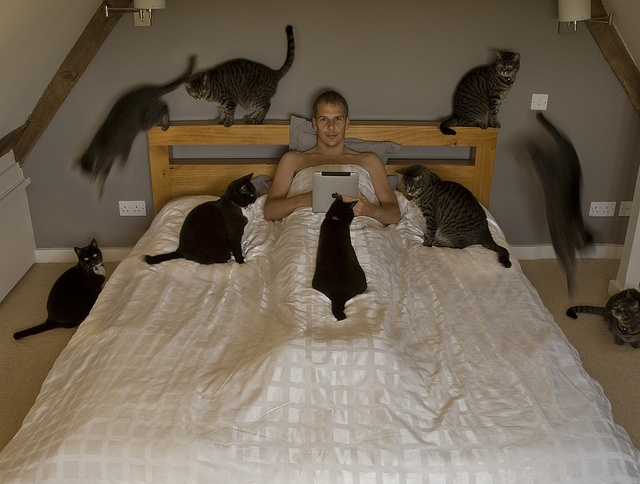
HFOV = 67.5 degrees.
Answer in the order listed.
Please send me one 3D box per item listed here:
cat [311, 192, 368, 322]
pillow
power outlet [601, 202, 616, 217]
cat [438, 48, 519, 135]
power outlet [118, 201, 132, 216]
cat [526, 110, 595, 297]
[{"bbox_3d":[0.107,0.066,2.090,0.163,0.304,0.538,0,62,8],"label":"cat"},{"bbox_3d":[0.104,-0.628,2.938,0.456,0.076,0.355,11,45,-9],"label":"pillow"},{"bbox_3d":[1.967,-0.227,3.265,0.088,0.098,0.010,-3,35,10],"label":"power outlet"},{"bbox_3d":[0.944,-1.011,3.078,0.509,0.568,0.421,3,44,12],"label":"cat"},{"bbox_3d":[-1.307,-0.227,3.194,0.093,0.105,0.010,0,33,-2],"label":"power outlet"},{"bbox_3d":[1.604,-0.291,3.205,0.211,1.092,0.438,-14,4,30],"label":"cat"}]
